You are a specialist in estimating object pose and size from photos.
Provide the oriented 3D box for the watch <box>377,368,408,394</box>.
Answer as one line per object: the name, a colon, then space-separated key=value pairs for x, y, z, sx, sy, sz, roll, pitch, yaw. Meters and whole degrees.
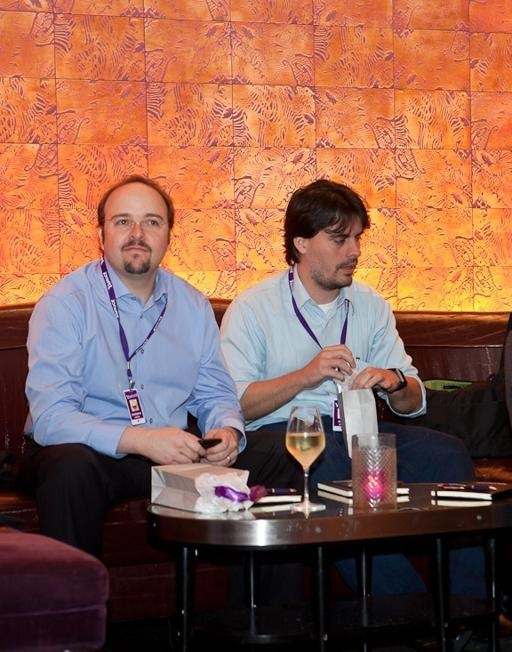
watch: x=0.419 y=0.172 z=1.894 sx=0.056 sy=0.069 sz=0.083 roll=26 pitch=-24 yaw=-16

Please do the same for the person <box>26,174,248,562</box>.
person: x=-0.360 y=0.025 z=1.714 sx=0.636 sy=1.036 sz=0.683 roll=-3 pitch=-3 yaw=-8

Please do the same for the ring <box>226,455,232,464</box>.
ring: x=-0.068 y=0.351 z=1.601 sx=0.017 sy=0.020 sz=0.022 roll=3 pitch=-12 yaw=10
